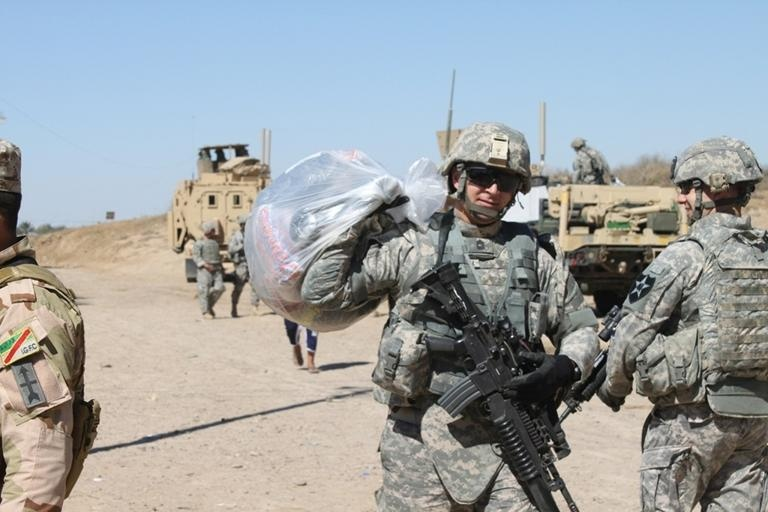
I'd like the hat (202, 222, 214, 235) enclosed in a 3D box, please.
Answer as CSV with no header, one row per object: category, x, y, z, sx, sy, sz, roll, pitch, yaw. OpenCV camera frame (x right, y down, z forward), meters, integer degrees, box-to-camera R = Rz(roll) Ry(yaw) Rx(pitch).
hat,-3.057,-0.499,18.344,0.163,0.164,0.214,7,23,31

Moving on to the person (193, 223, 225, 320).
person,-3.099,0.254,18.509,0.527,1.727,1.134,-1,7,-10

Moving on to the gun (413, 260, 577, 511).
gun,0.598,0.749,5.932,0.596,1.500,0.174,-28,-8,-5

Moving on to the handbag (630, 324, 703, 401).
handbag,1.673,0.627,6.026,0.428,0.179,0.335,-6,5,-13

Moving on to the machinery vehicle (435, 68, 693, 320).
machinery vehicle,3.547,-0.865,18.880,2.903,3.089,5.083,1,-1,-10
